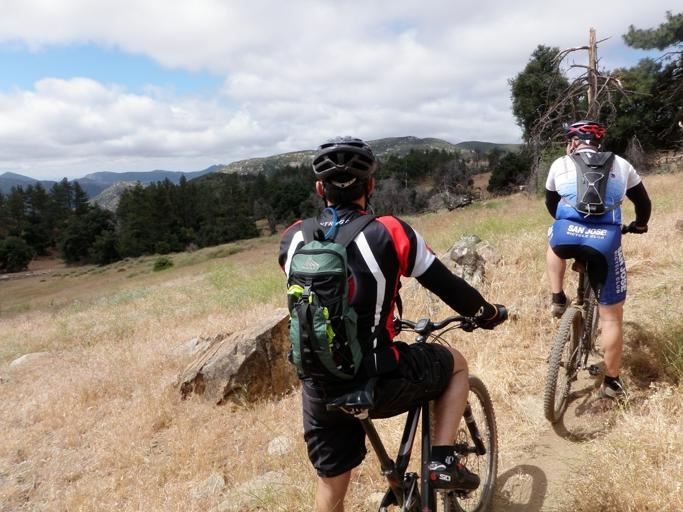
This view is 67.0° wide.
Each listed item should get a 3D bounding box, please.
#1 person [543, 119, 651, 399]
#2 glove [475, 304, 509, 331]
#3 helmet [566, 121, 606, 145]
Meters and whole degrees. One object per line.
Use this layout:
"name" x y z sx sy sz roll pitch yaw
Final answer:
"person" 3.498 0.010 7.052 1.247 3.638 1.007 -5 11 21
"glove" 1.648 0.620 5.674 0.427 0.236 0.205 -7 31 3
"helmet" 3.370 -1.687 7.122 0.397 0.377 0.401 12 14 -7
